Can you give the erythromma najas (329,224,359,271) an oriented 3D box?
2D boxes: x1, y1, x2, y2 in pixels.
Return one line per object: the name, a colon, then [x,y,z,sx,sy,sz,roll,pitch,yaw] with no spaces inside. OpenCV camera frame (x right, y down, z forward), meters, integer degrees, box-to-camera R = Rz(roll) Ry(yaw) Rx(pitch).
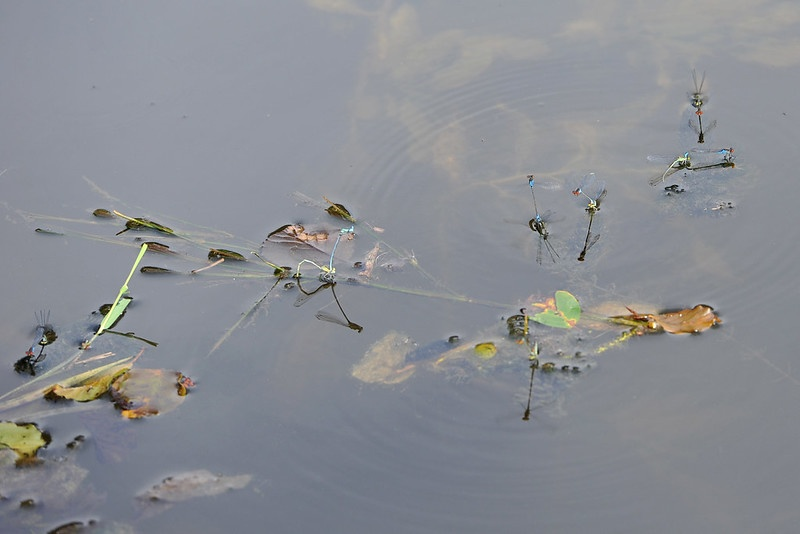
erythromma najas: [-0.755,-0.229,11.836,0.250,0.156,0.655,5,42,3]
